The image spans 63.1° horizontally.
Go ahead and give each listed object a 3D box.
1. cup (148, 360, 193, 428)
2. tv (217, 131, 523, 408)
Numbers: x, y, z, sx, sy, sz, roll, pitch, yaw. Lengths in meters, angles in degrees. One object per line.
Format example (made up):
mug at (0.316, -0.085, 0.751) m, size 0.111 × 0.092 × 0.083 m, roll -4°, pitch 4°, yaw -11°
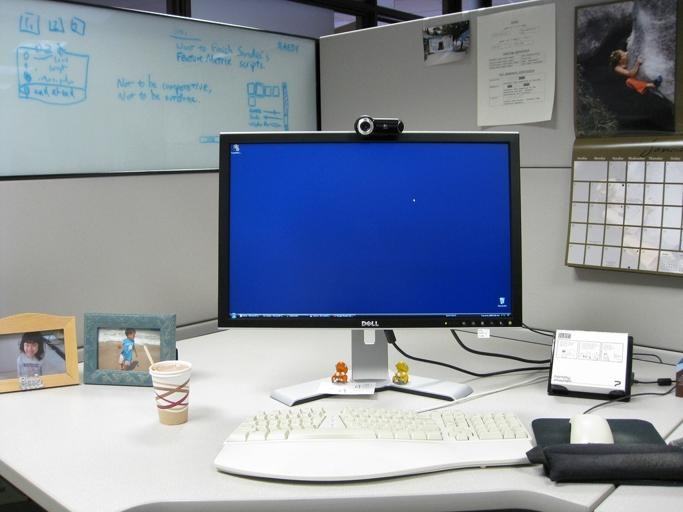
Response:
cup at (-0.358, 0.291, 1.237) m, size 0.112 × 0.131 × 0.115 m, roll -2°, pitch 10°, yaw 0°
tv at (0.069, 0.017, 1.308) m, size 0.644 × 0.613 × 0.238 m, roll 0°, pitch -1°, yaw 1°
